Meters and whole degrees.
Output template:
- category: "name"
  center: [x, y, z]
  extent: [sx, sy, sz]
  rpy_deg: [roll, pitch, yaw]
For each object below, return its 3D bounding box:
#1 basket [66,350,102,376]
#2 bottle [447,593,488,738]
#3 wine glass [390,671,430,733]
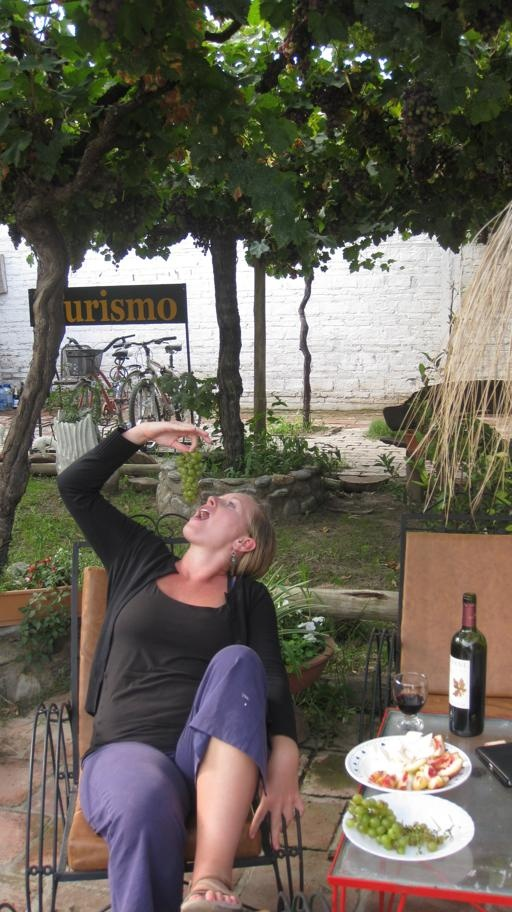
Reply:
- category: "basket"
  center: [-2.502, -1.327, 10.214]
  extent: [0.496, 0.421, 0.540]
  rpy_deg: [-1, 5, -17]
- category: "bottle"
  center: [0.523, 0.520, 1.746]
  extent: [0.085, 0.346, 0.086]
  rpy_deg: [1, 1, 0]
- category: "wine glass"
  center: [0.388, 0.617, 1.785]
  extent: [0.087, 0.129, 0.082]
  rpy_deg: [-2, 1, -2]
